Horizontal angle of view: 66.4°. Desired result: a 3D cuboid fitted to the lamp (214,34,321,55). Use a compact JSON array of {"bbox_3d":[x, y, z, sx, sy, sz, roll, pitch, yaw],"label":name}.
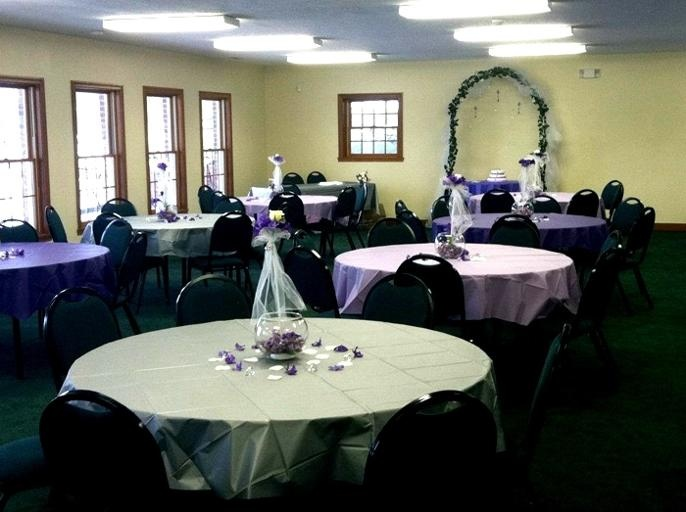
[{"bbox_3d":[-1.194,-3.324,8.243,0.947,0.128,0.492,0,6,-5],"label":"lamp"}]
